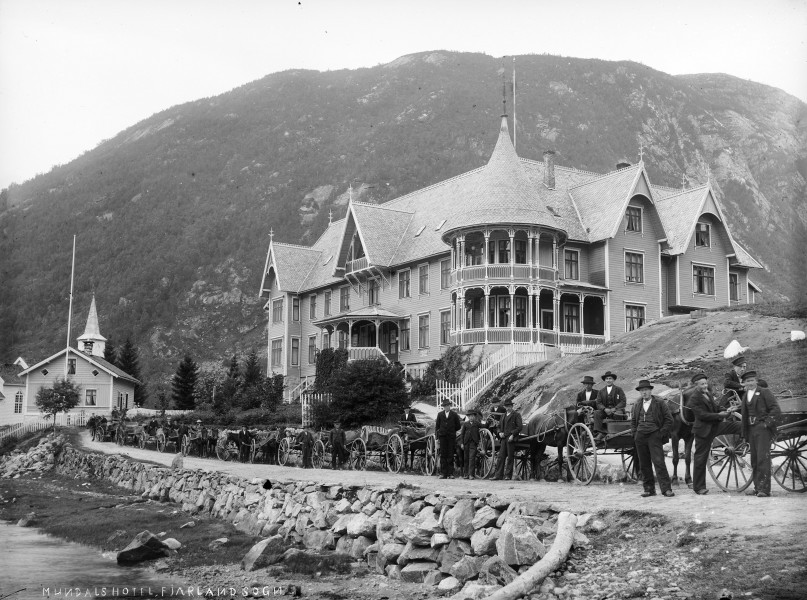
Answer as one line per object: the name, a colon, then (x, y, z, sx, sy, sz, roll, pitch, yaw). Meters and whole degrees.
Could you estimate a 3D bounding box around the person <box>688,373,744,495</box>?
person: (7.936, 3.471, 29.153, 1.103, 3.250, 1.205, 1, -9, -44)

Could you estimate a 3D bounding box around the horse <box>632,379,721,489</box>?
horse: (7.076, 3.483, 29.226, 1.758, 3.257, 1.819, -2, -8, -26)

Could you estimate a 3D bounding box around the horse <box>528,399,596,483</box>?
horse: (4.662, 4.253, 33.193, 1.109, 2.316, 3.722, 4, -12, -28)

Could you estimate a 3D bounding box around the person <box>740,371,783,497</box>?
person: (8.938, 3.260, 27.946, 0.520, 3.179, 1.068, 7, -16, -27)

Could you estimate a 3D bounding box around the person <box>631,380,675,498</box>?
person: (6.369, 3.609, 29.232, 0.920, 2.777, 1.078, -1, -8, -25)

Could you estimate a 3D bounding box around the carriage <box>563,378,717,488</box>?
carriage: (7.008, 3.543, 30.019, 2.989, 3.257, 2.595, -1, -9, -31)
